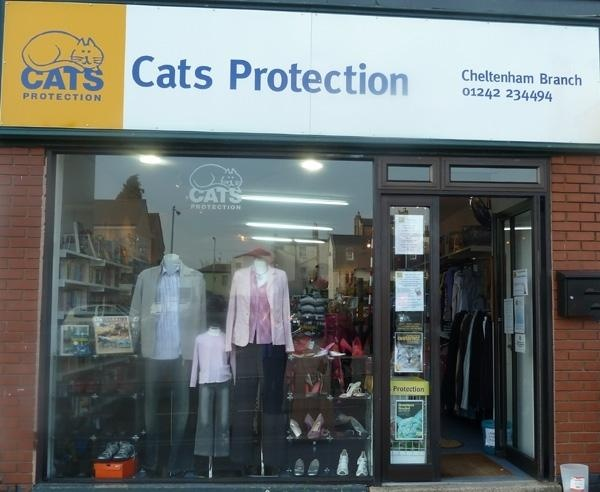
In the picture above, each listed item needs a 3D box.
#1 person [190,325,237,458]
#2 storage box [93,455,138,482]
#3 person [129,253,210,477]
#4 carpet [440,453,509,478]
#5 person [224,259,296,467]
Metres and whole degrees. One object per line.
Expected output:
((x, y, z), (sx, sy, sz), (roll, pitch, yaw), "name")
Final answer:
((-0.830, 1.396, 6.760), (0.404, 1.211, 0.225), (0, -13, -10), "person")
((-1.745, 2.082, 6.619), (0.231, 0.155, 0.241), (1, -12, -2), "storage box")
((-1.250, 1.119, 6.796), (0.575, 1.950, 0.883), (3, -1, -5), "person")
((1.699, 2.208, 7.107), (0.685, 0.095, 0.667), (-2, -4, -5), "carpet")
((-0.411, 1.071, 7.006), (0.639, 2.047, 0.576), (0, -4, -2), "person")
